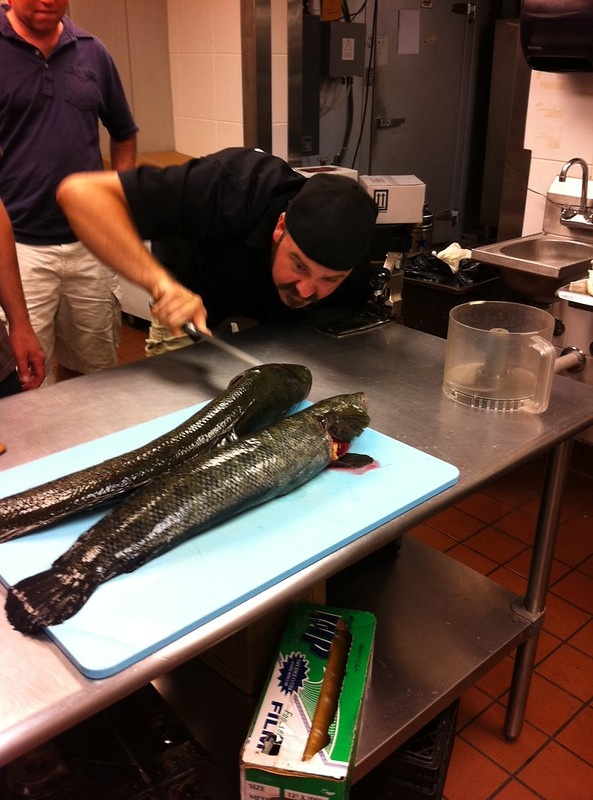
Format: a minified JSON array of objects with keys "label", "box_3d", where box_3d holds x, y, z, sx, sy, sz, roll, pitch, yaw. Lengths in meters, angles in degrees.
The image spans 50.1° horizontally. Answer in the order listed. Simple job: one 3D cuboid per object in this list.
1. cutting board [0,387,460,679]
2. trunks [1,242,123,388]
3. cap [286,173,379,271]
[{"label":"cutting board","box_3d":[-0.113,0.120,0.891,0.617,0.027,0.432,-18,28,-42]},{"label":"trunks","box_3d":[-0.826,-0.317,2.204,0.437,0.558,0.325,-12,51,-31]},{"label":"cap","box_3d":[0.061,-0.398,1.507,0.191,0.121,0.238,7,47,-27]}]
